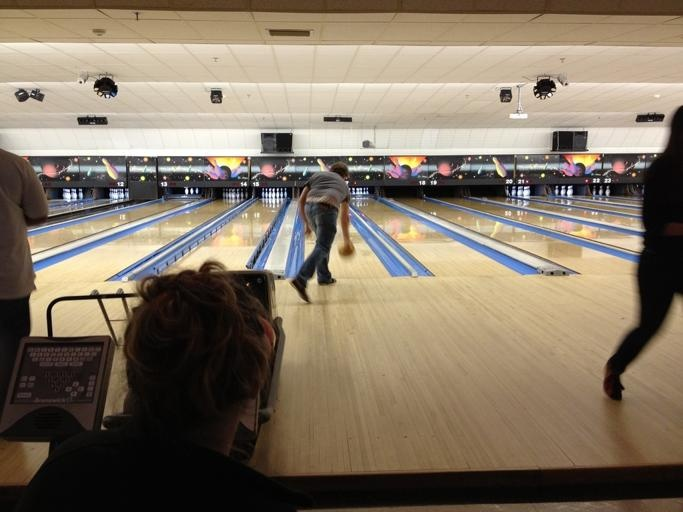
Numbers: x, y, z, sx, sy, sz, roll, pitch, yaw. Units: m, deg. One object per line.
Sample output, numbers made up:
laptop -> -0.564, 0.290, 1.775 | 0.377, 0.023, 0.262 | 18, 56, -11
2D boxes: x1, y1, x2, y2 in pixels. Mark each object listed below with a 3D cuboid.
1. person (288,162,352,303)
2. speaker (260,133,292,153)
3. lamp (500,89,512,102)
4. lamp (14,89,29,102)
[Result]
person -> -0.120, -0.237, 3.887 | 0.465, 1.098, 0.869 | 4, 8, -3
speaker -> -1.673, -2.992, 12.579 | 0.942, 0.571, 0.460 | 1, 11, 1
lamp -> 2.767, -2.676, 7.942 | 0.217, 0.206, 0.162 | -1, 12, -3
lamp -> -5.054, -2.569, 7.572 | 0.146, 0.228, 0.565 | -1, 8, -33
